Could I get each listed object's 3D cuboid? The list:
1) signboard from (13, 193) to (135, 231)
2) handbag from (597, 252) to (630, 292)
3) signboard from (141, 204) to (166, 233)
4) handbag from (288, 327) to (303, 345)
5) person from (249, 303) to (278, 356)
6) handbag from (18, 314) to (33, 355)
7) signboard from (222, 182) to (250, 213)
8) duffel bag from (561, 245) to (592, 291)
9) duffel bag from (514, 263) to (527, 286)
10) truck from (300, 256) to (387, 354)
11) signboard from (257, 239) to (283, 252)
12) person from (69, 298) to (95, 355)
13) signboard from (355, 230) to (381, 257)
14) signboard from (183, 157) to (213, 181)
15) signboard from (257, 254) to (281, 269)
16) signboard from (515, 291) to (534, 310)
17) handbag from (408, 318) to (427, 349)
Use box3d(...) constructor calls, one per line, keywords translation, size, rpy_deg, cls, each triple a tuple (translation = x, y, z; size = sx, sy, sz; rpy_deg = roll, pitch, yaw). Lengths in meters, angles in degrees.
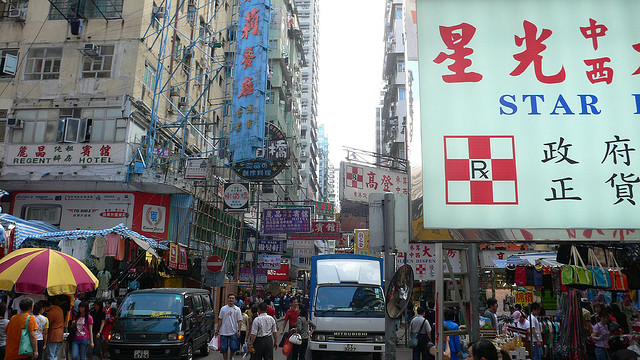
box3d(translation=(-13.533, 1.686, 29.984), size=(6.038, 1.944, 0.577), rpy_deg=(1, -11, -6), cls="signboard")
box3d(translation=(8.606, 2.612, 15.868), size=(0.615, 1.243, 0.988), rpy_deg=(7, 2, 40), cls="handbag")
box3d(translation=(-9.710, 2.172, 31.412), size=(1.935, 1.775, 0.064), rpy_deg=(3, -1, 24), cls="signboard")
box3d(translation=(-0.879, 5.561, 19.278), size=(0.672, 0.684, 0.314), rpy_deg=(3, -25, 10), cls="handbag")
box3d(translation=(-1.915, 4.994, 18.174), size=(0.885, 1.714, 0.603), rpy_deg=(3, -12, -17), cls="person")
box3d(translation=(-8.477, 4.442, 15.560), size=(0.369, 1.086, 0.154), rpy_deg=(5, -12, -25), cls="handbag")
box3d(translation=(-5.002, 0.994, 32.053), size=(1.991, 2.014, 0.400), rpy_deg=(1, -17, 3), cls="signboard")
box3d(translation=(7.432, 2.465, 15.635), size=(1.102, 1.288, 0.576), rpy_deg=(13, -24, -26), cls="duffel bag")
box3d(translation=(7.734, 3.632, 20.799), size=(0.514, 0.792, 0.206), rpy_deg=(0, -7, 20), cls="duffel bag")
box3d(translation=(1.062, 5.564, 22.060), size=(2.483, 2.514, 3.992), rpy_deg=(0, -25, 3), cls="truck")
box3d(translation=(-3.740, 4.825, 39.959), size=(1.489, 0.650, 0.191), rpy_deg=(-1, -31, 3), cls="signboard")
box3d(translation=(-8.155, 4.986, 18.302), size=(0.801, 1.731, 0.677), rpy_deg=(1, -11, -6), cls="person")
box3d(translation=(2.895, 3.680, 31.363), size=(1.761, 1.567, 0.957), rpy_deg=(-2, -8, 40), cls="signboard")
box3d(translation=(-7.044, -0.669, 31.093), size=(1.443, 1.167, 0.483), rpy_deg=(3, -14, 8), cls="signboard")
box3d(translation=(-3.620, 5.666, 37.684), size=(1.321, 0.728, 0.068), rpy_deg=(0, -32, 2), cls="signboard")
box3d(translation=(9.645, 5.563, 25.505), size=(0.468, 0.690, 1.248), rpy_deg=(2, -11, -12), cls="signboard")
box3d(translation=(3.157, 4.861, 17.177), size=(0.370, 0.946, 0.538), rpy_deg=(24, -17, 21), cls="handbag")
